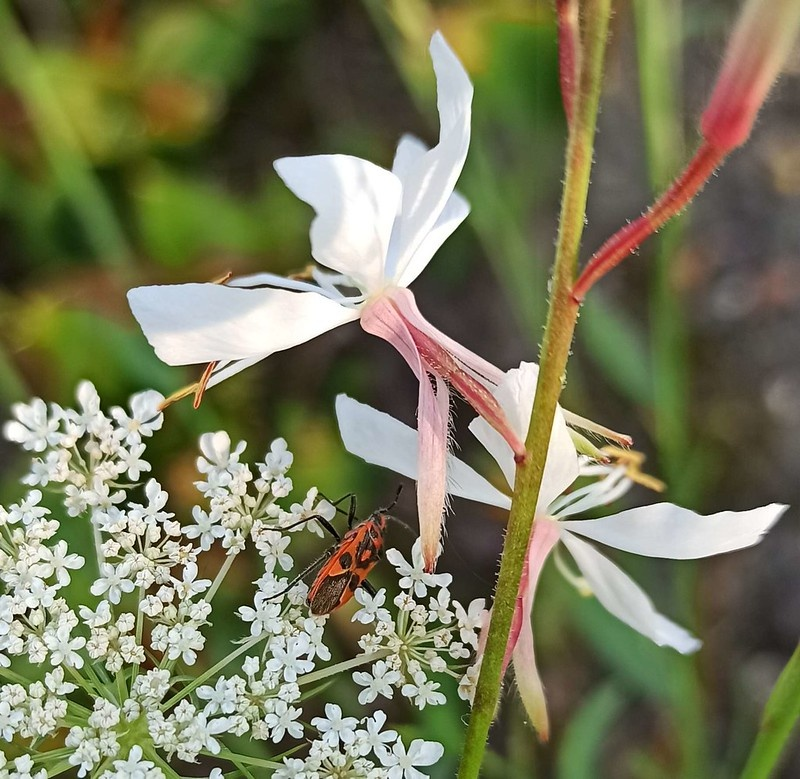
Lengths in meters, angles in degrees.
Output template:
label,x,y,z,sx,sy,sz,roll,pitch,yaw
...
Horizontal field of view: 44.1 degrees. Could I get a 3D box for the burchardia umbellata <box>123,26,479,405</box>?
label,x,y,z,sx,sy,sz,roll,pitch,yaw
burchardia umbellata,-0.067,-0.139,0.891,0.300,0.277,0.244,-12,17,7

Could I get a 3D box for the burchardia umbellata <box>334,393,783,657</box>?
label,x,y,z,sx,sy,sz,roll,pitch,yaw
burchardia umbellata,0.137,0.116,0.898,0.320,0.378,0.241,4,7,21
